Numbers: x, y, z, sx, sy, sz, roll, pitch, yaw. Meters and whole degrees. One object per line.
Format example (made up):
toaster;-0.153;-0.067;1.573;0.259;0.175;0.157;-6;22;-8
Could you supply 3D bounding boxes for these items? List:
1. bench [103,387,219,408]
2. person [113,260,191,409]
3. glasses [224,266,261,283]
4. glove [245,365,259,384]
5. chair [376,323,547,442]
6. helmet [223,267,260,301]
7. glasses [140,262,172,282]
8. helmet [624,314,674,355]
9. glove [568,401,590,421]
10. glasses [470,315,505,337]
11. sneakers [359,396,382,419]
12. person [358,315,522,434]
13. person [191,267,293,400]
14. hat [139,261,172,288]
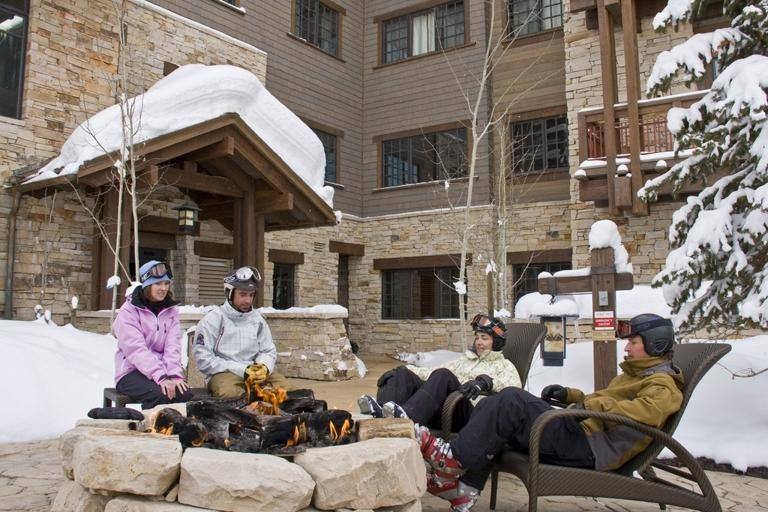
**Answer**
bench;-2.644;1.625;7.794;1.115;0.213;0.838;2;-8;-20
person;-2.670;0.892;7.765;0.818;1.672;0.505;2;-7;-22
glasses;-1.674;0.207;7.840;0.279;0.110;0.221;-16;-14;40
glove;-1.459;1.287;7.383;0.066;0.172;0.143;13;-14;-24
chair;0.746;1.263;7.426;2.245;1.260;1.217;13;-9;-40
helmet;-1.707;0.342;8.007;0.423;0.401;0.523;2;-14;-38
glasses;-2.637;0.197;7.766;0.313;0.192;0.231;-26;-30;22
helmet;2.671;0.782;6.707;0.480;0.417;0.402;-8;-11;25
glove;1.869;1.488;6.518;0.051;0.173;0.177;-27;-14;-15
glasses;1.150;0.770;7.440;0.311;0.144;0.228;27;-10;-29
sneakers;-0.130;1.529;6.875;0.147;0.125;0.293;4;-35;24
person;0.635;1.185;7.421;1.147;1.251;2.009;-7;-15;44
person;-1.711;0.935;7.997;1.136;1.590;1.183;2;-1;18
hat;-2.650;0.226;7.841;0.345;0.300;0.276;-10;-13;19
